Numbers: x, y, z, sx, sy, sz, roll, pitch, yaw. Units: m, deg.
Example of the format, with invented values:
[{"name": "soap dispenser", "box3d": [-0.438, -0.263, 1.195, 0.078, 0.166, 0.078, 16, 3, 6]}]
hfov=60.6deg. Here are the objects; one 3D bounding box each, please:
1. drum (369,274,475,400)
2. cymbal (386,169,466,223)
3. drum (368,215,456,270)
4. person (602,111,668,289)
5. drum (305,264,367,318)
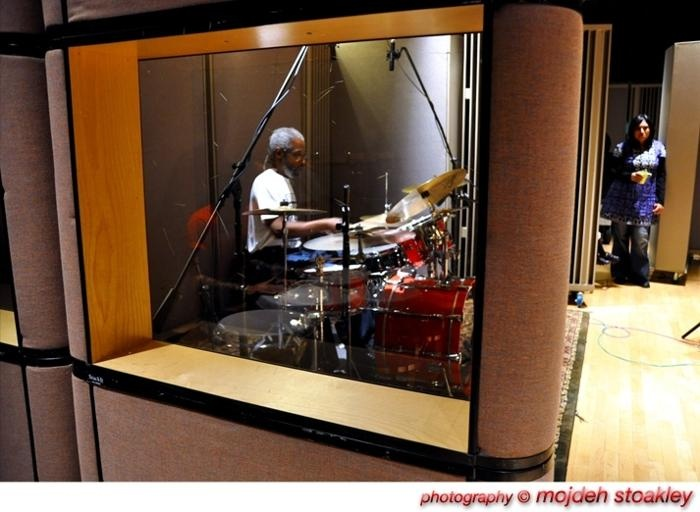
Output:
[{"name": "drum", "box3d": [0.291, 0.274, 2.275, 0.337, 0.401, 0.385, 5, 6, 24]}, {"name": "cymbal", "box3d": [0.348, -0.262, 2.746, 0.361, 0.290, 0.412, 0, 13, 3]}, {"name": "drum", "box3d": [0.405, -0.039, 2.811, 0.354, 0.132, 0.355, -5, -12, -1]}, {"name": "person", "box3d": [2.327, -0.444, 4.904, 0.504, 1.381, 0.373, -12, 17, -42]}, {"name": "drum", "box3d": [-0.070, 0.117, 2.633, 0.256, 0.152, 0.259, -3, -8, 0]}]
